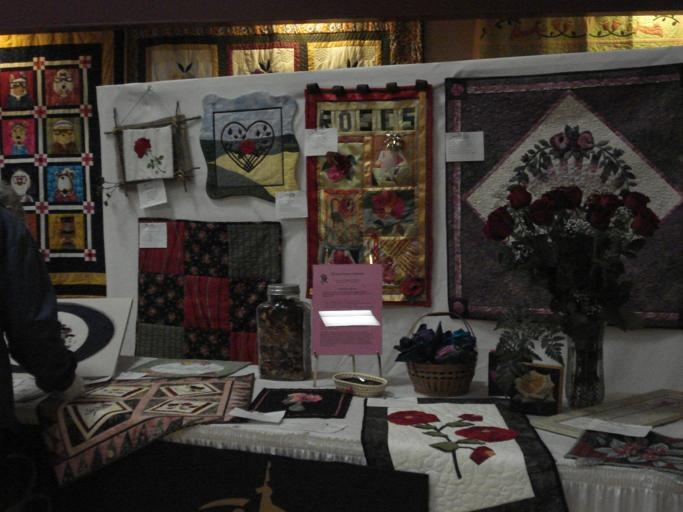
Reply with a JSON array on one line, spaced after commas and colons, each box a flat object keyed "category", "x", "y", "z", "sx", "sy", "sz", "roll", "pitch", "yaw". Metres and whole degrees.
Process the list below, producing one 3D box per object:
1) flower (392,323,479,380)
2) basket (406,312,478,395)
[{"category": "flower", "x": 0.317, "y": 0.322, "z": 2.399, "sx": 0.258, "sy": 0.111, "sz": 0.260, "roll": -14, "pitch": 13, "yaw": 1}, {"category": "basket", "x": 0.351, "y": 0.356, "z": 2.477, "sx": 0.280, "sy": 0.233, "sz": 0.245, "roll": -3, "pitch": -7, "yaw": 6}]
